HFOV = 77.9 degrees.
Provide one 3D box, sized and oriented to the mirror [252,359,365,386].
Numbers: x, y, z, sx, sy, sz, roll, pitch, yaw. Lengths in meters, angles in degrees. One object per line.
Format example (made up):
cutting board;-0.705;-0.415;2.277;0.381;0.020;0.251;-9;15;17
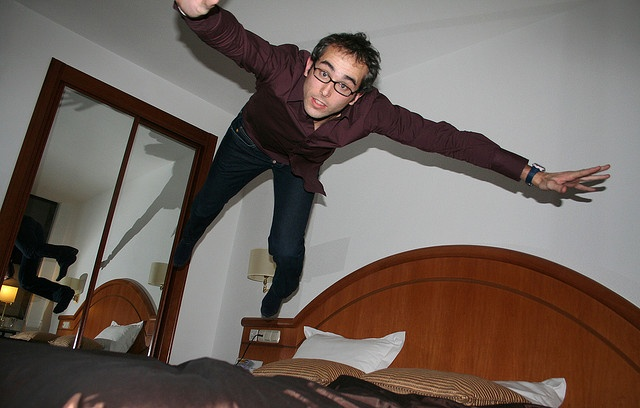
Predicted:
mirror;-0.044;0.946;2.224;0.380;0.118;0.488;-9;-26;28

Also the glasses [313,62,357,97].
glasses;0.085;-0.718;2.306;0.263;0.157;0.058;10;-12;-13

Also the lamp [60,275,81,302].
lamp;-2.244;0.761;3.584;0.164;0.204;0.083;9;-6;-30
